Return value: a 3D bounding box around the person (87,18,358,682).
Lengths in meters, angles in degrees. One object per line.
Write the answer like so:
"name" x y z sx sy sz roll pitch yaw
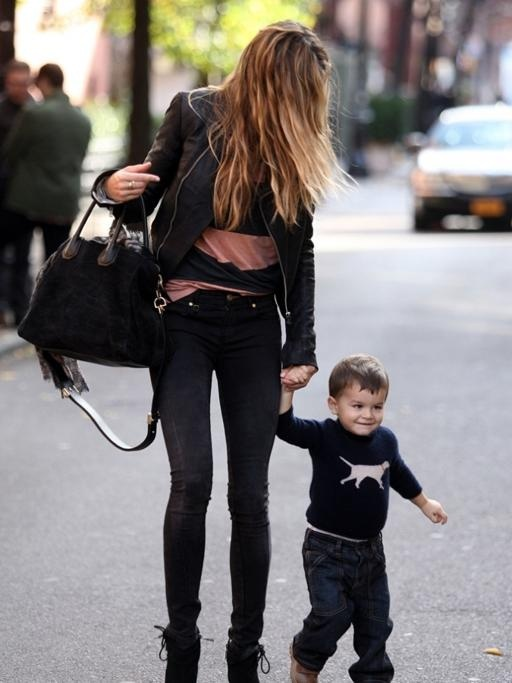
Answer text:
"person" -0.091 0.052 2.216 0.456 1.738 0.572 8 8 39

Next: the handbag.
"handbag" -0.426 -0.143 2.157 0.428 0.370 0.191 17 21 30

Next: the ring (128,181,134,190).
"ring" -0.313 -0.392 2.033 0.005 0.013 0.016 -1 5 -38
